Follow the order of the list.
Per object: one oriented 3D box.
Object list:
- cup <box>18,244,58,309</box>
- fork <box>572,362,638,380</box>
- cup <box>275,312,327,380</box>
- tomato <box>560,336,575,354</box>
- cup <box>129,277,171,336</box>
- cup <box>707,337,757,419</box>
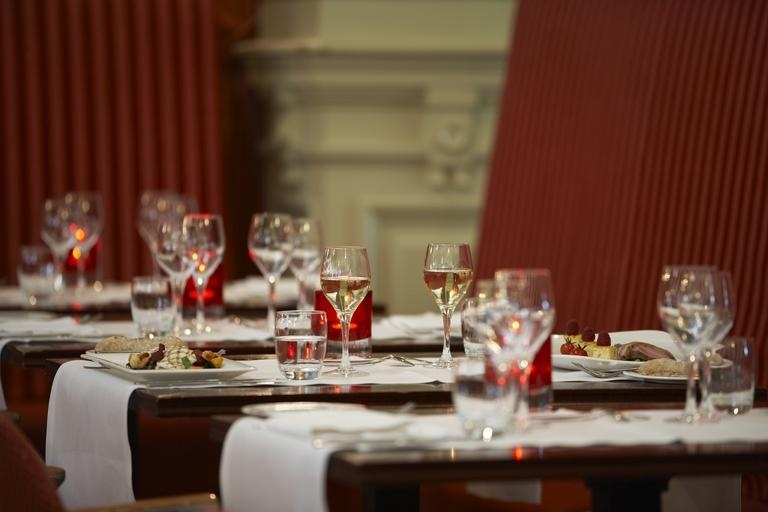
[{"bbox_3d":[-1.095,0.059,2.326,0.104,0.184,0.191,-2,1,-26],"label":"cup"},{"bbox_3d":[0.397,0.203,1.316,0.139,0.019,0.023,1,-38,-13],"label":"fork"},{"bbox_3d":[-0.143,0.155,1.287,0.089,0.120,0.094,0,-2,0],"label":"cup"},{"bbox_3d":[0.348,0.169,1.424,0.026,0.039,0.033,1,0,-1],"label":"tomato"},{"bbox_3d":[-0.516,0.113,1.654,0.084,0.146,0.090,2,14,-1],"label":"cup"},{"bbox_3d":[0.507,0.173,1.088,0.070,0.117,0.070,5,0,0],"label":"cup"}]
